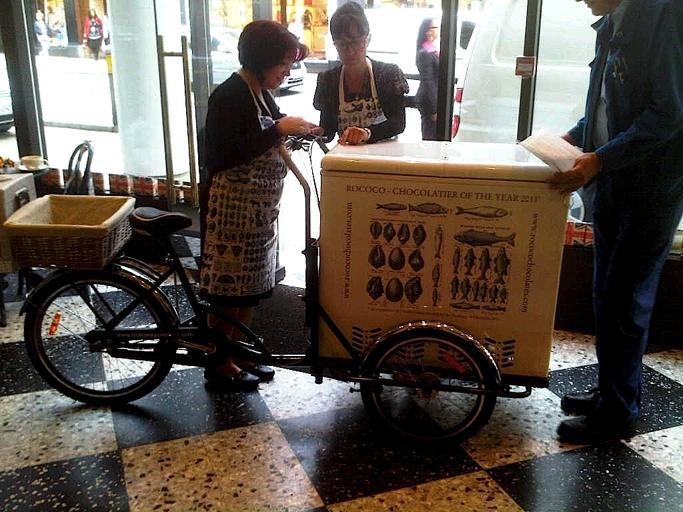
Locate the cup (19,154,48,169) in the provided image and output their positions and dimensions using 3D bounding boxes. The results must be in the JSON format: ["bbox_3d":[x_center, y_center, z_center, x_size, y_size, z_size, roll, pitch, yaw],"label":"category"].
[{"bbox_3d":[-2.242,-0.673,4.097,0.211,0.090,0.157,2,6,-26],"label":"cup"}]

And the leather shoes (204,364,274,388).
[{"bbox_3d":[-0.550,0.646,2.963,0.279,0.072,0.151,-3,2,8],"label":"leather shoes"}]

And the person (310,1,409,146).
[{"bbox_3d":[0.100,-0.961,2.931,0.507,0.677,0.237,1,22,2],"label":"person"}]

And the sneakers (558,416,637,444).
[{"bbox_3d":[1.162,0.819,2.630,0.384,0.128,0.131,1,8,2],"label":"sneakers"}]

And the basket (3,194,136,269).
[{"bbox_3d":[-1.260,-0.207,2.692,0.464,0.192,0.530,2,17,0],"label":"basket"}]

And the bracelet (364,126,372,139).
[{"bbox_3d":[0.138,-0.605,2.730,0.044,0.068,0.055,2,6,-18],"label":"bracelet"}]

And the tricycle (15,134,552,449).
[{"bbox_3d":[-0.309,0.174,2.685,2.440,1.190,0.869,2,3,1],"label":"tricycle"}]
